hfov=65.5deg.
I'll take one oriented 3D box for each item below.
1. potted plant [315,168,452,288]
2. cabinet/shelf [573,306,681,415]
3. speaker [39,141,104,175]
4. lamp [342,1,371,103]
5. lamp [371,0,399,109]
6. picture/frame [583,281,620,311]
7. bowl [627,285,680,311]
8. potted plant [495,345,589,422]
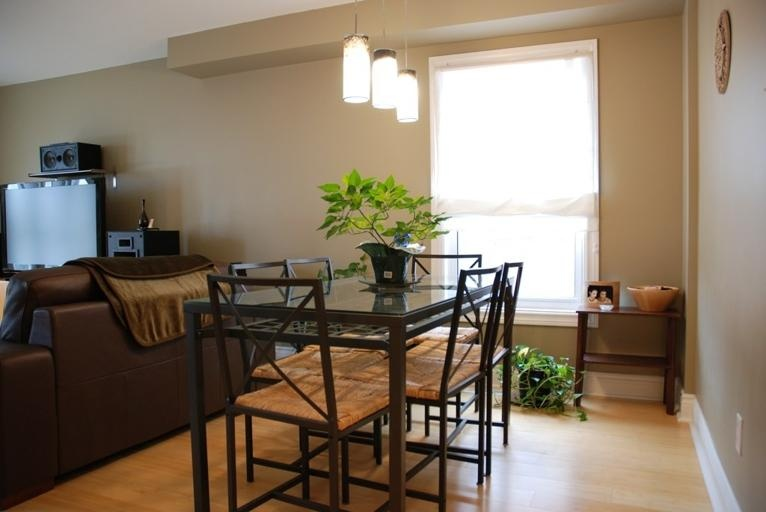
[{"bbox_3d":[0.010,-0.115,3.797,0.823,0.594,0.659,-1,0,31],"label":"potted plant"},{"bbox_3d":[1.882,0.815,4.619,0.769,0.730,0.417,2,-1,27],"label":"cabinet/shelf"},{"bbox_3d":[-3.408,-1.052,6.437,0.695,0.328,0.251,3,14,14],"label":"speaker"},{"bbox_3d":[-0.152,-1.090,3.459,0.147,0.369,0.166,-2,14,-5],"label":"lamp"},{"bbox_3d":[0.016,-1.068,3.576,0.151,0.346,0.215,0,14,2],"label":"lamp"},{"bbox_3d":[1.694,0.313,4.584,0.214,0.196,0.021,1,-2,17],"label":"picture/frame"},{"bbox_3d":[2.041,0.317,4.506,0.366,0.202,0.261,7,15,26],"label":"bowl"},{"bbox_3d":[1.193,0.947,4.667,0.434,0.280,0.519,-5,-2,44],"label":"potted plant"}]
